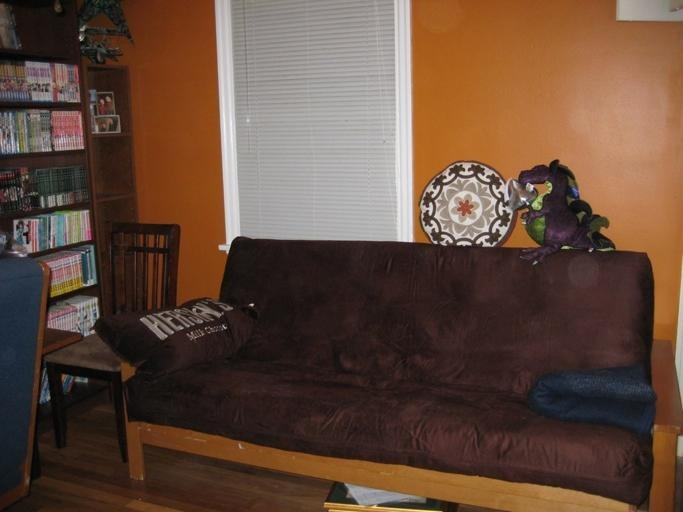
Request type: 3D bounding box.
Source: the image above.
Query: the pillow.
[{"bbox_3d":[-0.859,0.387,3.060,0.361,0.183,0.592,28,19,29],"label":"pillow"}]
